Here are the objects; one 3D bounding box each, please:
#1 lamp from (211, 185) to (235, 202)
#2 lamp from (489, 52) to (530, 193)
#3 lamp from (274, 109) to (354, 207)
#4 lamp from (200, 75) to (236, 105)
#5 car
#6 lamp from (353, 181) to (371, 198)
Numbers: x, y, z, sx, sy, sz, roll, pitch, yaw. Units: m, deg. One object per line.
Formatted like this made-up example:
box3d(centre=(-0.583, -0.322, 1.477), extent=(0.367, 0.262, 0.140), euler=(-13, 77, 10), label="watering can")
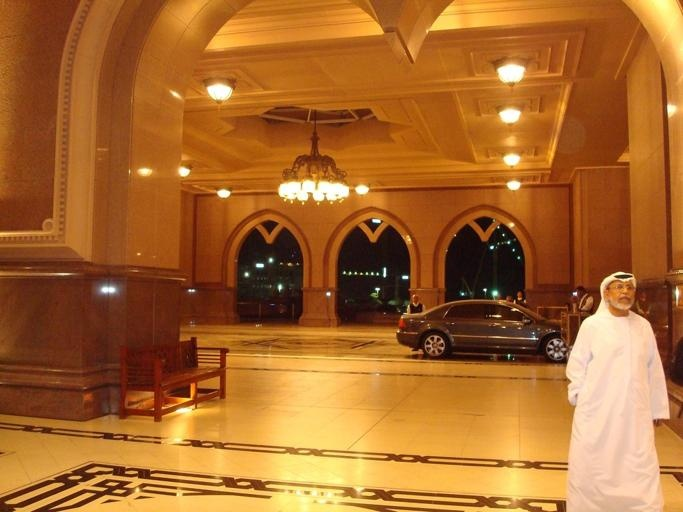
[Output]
box3d(centre=(-4.695, -2.514, 22.071), extent=(0.655, 0.482, 0.682), euler=(-1, -7, -2), label="lamp")
box3d(centre=(4.149, -3.302, 13.834), extent=(0.916, 2.893, 0.962), euler=(-3, 4, 8), label="lamp")
box3d(centre=(-0.739, -2.340, 14.335), extent=(1.561, 1.937, 1.563), euler=(3, -7, -16), label="lamp")
box3d(centre=(-2.521, -3.426, 11.500), extent=(0.493, 0.367, 0.529), euler=(0, 7, 33), label="lamp")
box3d(centre=(3.351, 1.831, 13.631), extent=(3.362, 1.170, 1.501), euler=(-1, -5, 9), label="car")
box3d(centre=(0.796, -2.458, 20.380), extent=(0.463, 0.361, 0.470), euler=(-3, 5, -21), label="lamp")
